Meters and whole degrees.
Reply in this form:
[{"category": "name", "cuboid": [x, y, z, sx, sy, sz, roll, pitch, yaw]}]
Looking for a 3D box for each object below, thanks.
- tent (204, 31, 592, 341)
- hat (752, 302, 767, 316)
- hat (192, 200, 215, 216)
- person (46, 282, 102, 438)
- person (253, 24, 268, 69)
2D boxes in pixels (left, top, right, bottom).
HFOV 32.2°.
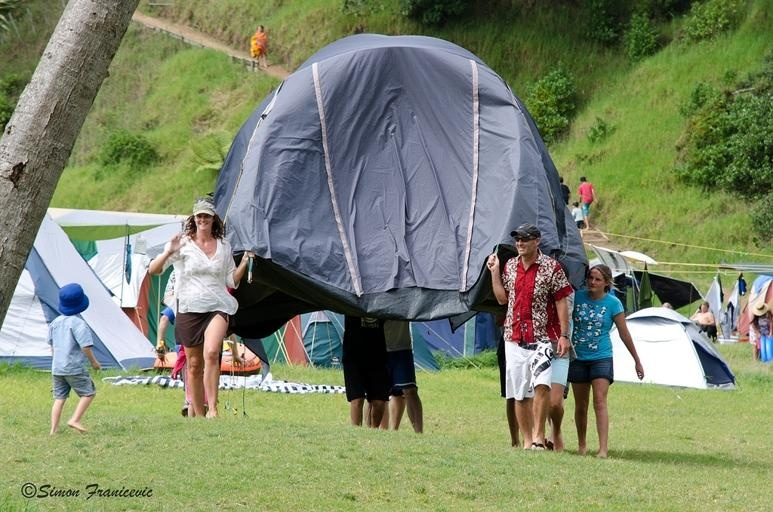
[{"category": "tent", "cuboid": [0.670, -1.555, 32.994, 6.747, 9.941, 3.560, 0, -37, 0]}, {"category": "hat", "cuboid": [11.129, 1.583, 40.202, 0.320, 0.398, 0.375, 2, 0, -9]}, {"category": "hat", "cuboid": [-3.996, -1.080, 29.569, 0.496, 0.369, 0.310, -2, 12, -12]}, {"category": "person", "cuboid": [-6.874, 2.205, 29.481, 1.032, 3.050, 1.281, -2, 12, -15]}, {"category": "person", "cuboid": [-6.264, -10.493, 66.130, 0.866, 1.976, 0.745, -4, -7, 27]}]
